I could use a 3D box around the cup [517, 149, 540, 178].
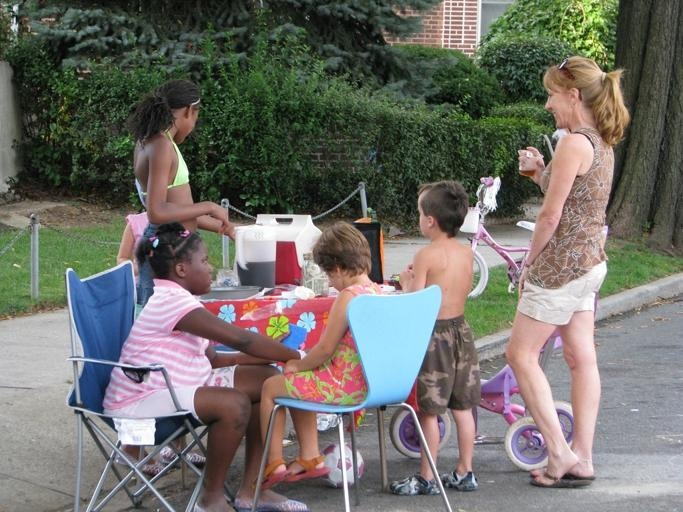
[{"bbox_3d":[1.395,-0.699,7.504,0.120,0.204,0.202,0,-1,4],"label":"cup"}]

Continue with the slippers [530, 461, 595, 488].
[{"bbox_3d":[1.603,1.565,7.169,0.419,0.119,0.167,1,-4,2],"label":"slippers"}]

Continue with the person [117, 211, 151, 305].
[{"bbox_3d":[-1.672,0.015,8.173,0.261,0.780,0.445,2,8,12],"label":"person"}]

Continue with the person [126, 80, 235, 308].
[{"bbox_3d":[-1.198,-0.135,7.582,0.868,2.406,0.733,0,9,-11],"label":"person"}]

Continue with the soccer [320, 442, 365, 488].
[{"bbox_3d":[-0.002,1.517,7.318,0.304,0.383,0.320,1,28,-8],"label":"soccer"}]

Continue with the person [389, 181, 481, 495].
[{"bbox_3d":[0.632,0.550,7.352,0.818,2.021,0.923,7,8,-3],"label":"person"}]

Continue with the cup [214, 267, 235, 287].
[{"bbox_3d":[-0.890,0.158,7.561,0.129,0.136,0.135,0,4,0],"label":"cup"}]

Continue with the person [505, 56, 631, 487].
[{"bbox_3d":[1.612,0.116,7.175,0.722,3.038,0.737,4,12,17],"label":"person"}]

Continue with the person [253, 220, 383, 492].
[{"bbox_3d":[-0.145,0.737,6.989,0.798,1.877,0.657,5,2,15],"label":"person"}]

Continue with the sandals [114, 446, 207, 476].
[{"bbox_3d":[-1.317,1.471,7.131,0.590,0.282,0.188,17,1,-5],"label":"sandals"}]

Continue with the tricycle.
[{"bbox_3d":[1.070,0.918,7.522,1.336,1.420,0.901,3,14,4],"label":"tricycle"}]

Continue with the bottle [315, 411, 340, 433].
[{"bbox_3d":[-0.117,1.349,8.005,0.196,0.137,0.306,0,-10,-1],"label":"bottle"}]

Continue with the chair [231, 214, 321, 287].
[{"bbox_3d":[-0.498,-0.045,7.874,0.425,0.808,0.764,5,10,30],"label":"chair"}]
